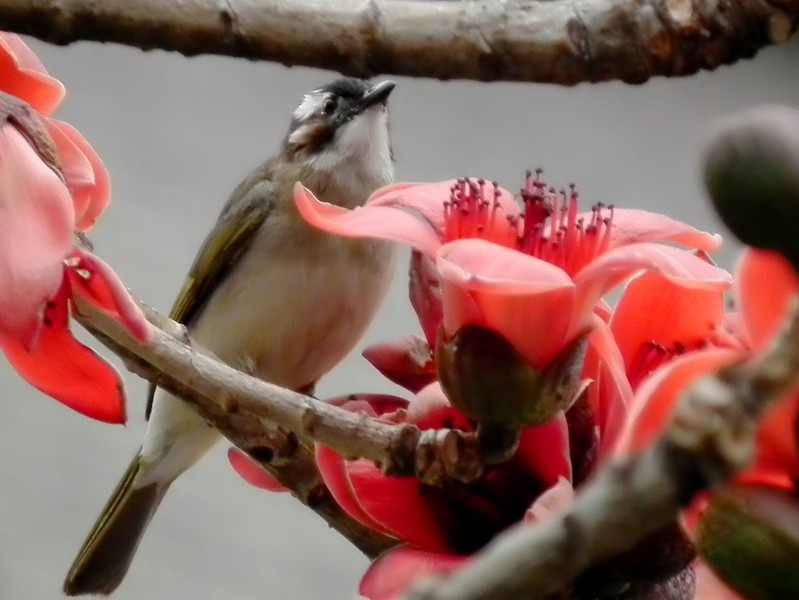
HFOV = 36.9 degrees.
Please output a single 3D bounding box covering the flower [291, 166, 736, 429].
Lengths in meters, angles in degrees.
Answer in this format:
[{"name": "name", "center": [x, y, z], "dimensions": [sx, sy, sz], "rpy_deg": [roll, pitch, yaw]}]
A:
[{"name": "flower", "center": [0.046, -0.010, 0.560], "dimensions": [0.130, 0.058, 0.128], "rpy_deg": [9, 2, -5]}]
